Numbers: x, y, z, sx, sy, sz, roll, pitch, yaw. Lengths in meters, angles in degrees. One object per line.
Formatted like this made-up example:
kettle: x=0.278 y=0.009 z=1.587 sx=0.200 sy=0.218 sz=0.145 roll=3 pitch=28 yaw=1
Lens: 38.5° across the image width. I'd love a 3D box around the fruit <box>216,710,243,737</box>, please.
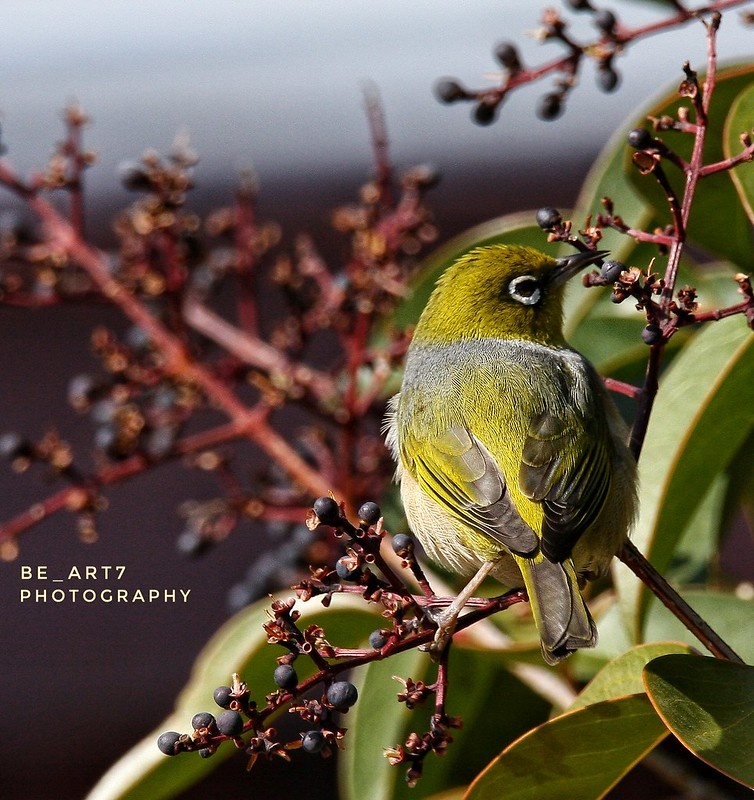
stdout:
fruit: x=-0.246 y=0.546 z=1.816 sx=0.054 sy=0.044 sz=0.045 roll=1 pitch=3 yaw=6
